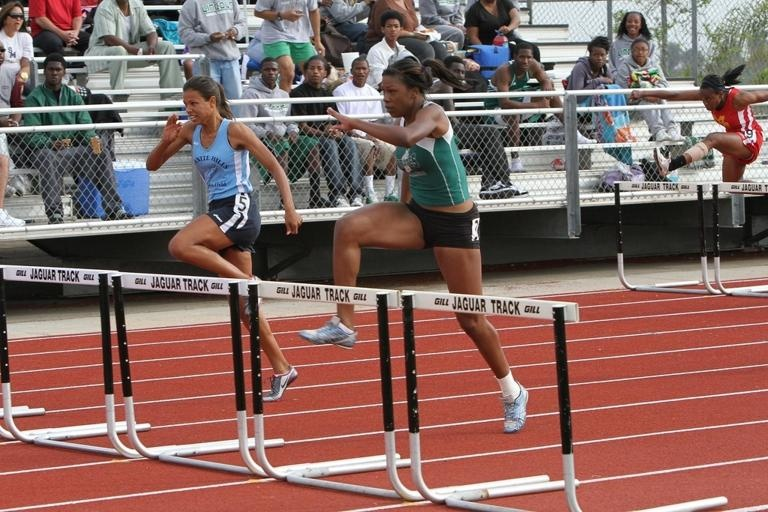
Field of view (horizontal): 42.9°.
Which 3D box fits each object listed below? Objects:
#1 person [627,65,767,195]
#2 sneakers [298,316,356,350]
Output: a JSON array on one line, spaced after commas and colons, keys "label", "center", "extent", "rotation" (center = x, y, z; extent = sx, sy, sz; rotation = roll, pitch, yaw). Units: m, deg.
[{"label": "person", "center": [3.994, -1.472, 11.879], "extent": [1.757, 1.048, 1.551], "rotation": [7, 3, -31]}, {"label": "sneakers", "center": [-0.335, 0.526, 6.688], "extent": [0.513, 0.209, 0.158], "rotation": [6, -2, -5]}]
